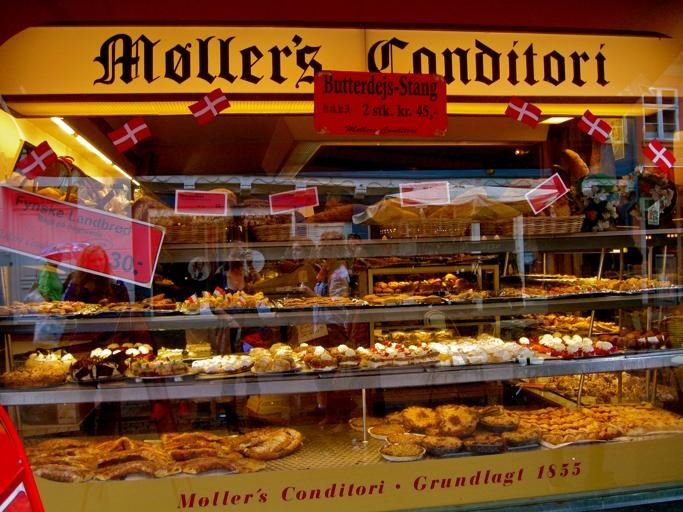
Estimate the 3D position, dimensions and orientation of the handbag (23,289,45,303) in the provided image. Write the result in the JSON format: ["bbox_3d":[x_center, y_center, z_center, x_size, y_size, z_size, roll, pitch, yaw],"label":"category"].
[{"bbox_3d":[-1.806,0.240,3.667,0.098,0.063,0.080,3,-11,-10],"label":"handbag"}]

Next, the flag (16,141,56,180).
[{"bbox_3d":[-1.809,-0.557,3.694,0.260,0.151,0.072,-39,27,-21],"label":"flag"}]

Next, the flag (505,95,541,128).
[{"bbox_3d":[1.163,-0.934,3.989,0.251,0.123,0.010,20,34,-11],"label":"flag"}]

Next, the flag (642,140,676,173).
[{"bbox_3d":[2.091,-0.664,4.108,0.143,0.238,0.046,-49,-5,24],"label":"flag"}]

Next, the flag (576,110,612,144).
[{"bbox_3d":[1.669,-0.858,4.150,0.299,0.138,0.050,20,1,-24],"label":"flag"}]

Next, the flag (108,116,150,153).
[{"bbox_3d":[-1.317,-0.755,3.847,0.271,0.159,0.012,-31,29,-4],"label":"flag"}]
